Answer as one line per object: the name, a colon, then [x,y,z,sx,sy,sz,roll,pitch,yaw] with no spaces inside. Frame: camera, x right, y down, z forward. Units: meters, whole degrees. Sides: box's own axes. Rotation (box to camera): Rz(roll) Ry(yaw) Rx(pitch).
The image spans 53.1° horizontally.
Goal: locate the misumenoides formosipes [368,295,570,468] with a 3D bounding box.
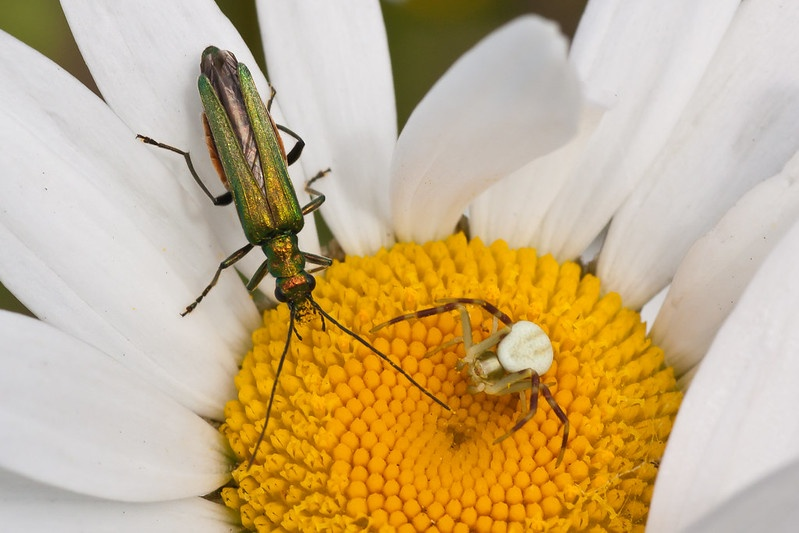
misumenoides formosipes: [0.380,0.527,3.717,0.658,0.418,0.990,-34,72,-4]
